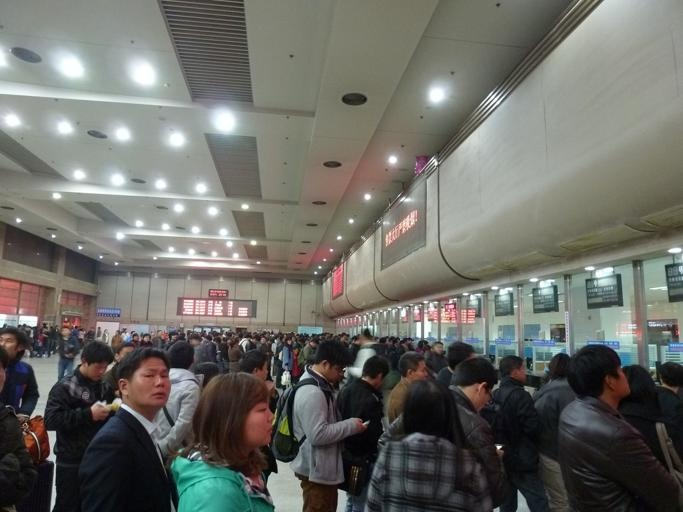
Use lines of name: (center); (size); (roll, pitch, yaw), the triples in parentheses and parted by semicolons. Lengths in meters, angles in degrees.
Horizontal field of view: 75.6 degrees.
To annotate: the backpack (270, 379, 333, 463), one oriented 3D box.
backpack: (-0.342, 1.344, 3.510); (0.387, 0.641, 0.440); (9, -23, 15)
